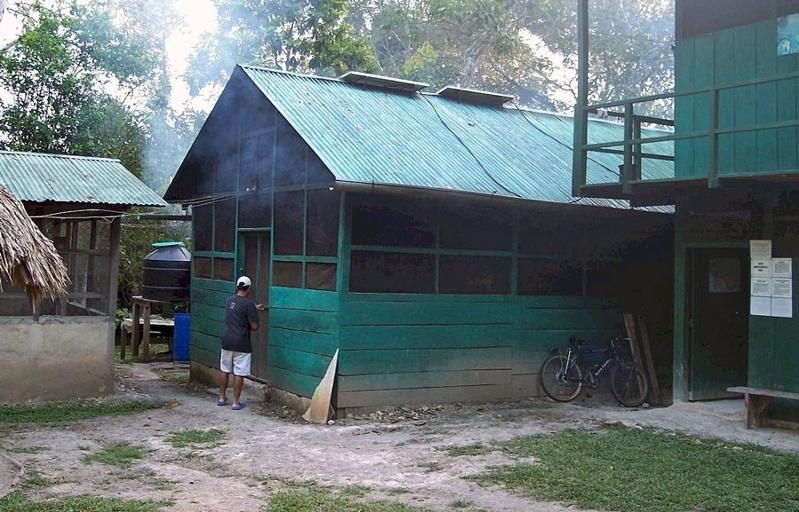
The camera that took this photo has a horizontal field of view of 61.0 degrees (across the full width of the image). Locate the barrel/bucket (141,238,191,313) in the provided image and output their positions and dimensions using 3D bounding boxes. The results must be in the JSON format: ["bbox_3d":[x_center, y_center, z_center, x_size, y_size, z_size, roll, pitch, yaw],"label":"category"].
[{"bbox_3d":[-6.089,0.424,18.084,1.741,1.440,1.720,3,-5,0],"label":"barrel/bucket"}]

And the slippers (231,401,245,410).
[{"bbox_3d":[-2.963,2.766,12.609,0.107,0.103,0.265,2,1,21],"label":"slippers"}]

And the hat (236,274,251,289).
[{"bbox_3d":[-2.925,0.473,12.888,0.214,0.139,0.330,5,7,-3],"label":"hat"}]

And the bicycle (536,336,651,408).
[{"bbox_3d":[3.853,2.228,13.251,2.165,1.248,0.846,4,-12,1],"label":"bicycle"}]

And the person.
[{"bbox_3d":[-3.042,1.615,12.789,0.733,2.409,0.774,-5,7,-38],"label":"person"}]

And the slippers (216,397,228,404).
[{"bbox_3d":[-3.374,2.757,12.927,0.088,0.101,0.261,1,-7,-3],"label":"slippers"}]
